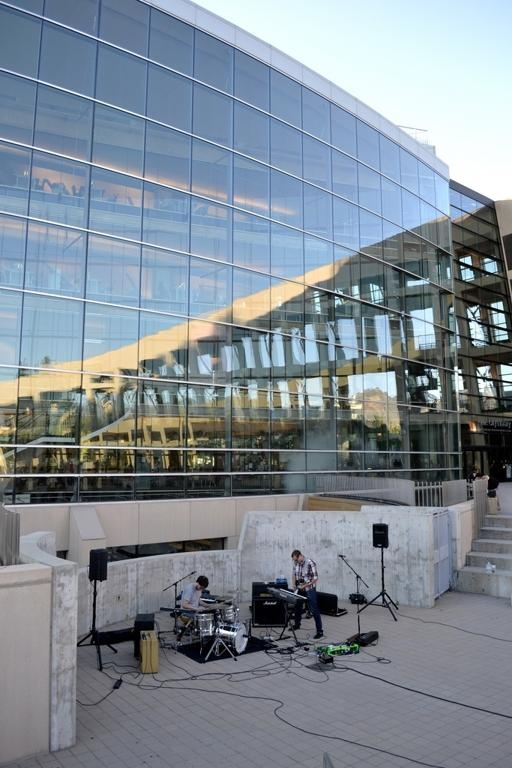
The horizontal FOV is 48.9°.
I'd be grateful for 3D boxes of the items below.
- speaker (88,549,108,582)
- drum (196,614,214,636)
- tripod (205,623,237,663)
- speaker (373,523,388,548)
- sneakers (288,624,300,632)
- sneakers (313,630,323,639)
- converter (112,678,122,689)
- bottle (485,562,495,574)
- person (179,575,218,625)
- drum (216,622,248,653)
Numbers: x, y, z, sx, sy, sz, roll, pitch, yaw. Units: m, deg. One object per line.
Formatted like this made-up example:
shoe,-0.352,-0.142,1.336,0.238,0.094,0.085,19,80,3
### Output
speaker,-2.590,3.007,9.238,0.283,0.597,0.758,-1,-7,-18
drum,-0.879,4.254,9.916,0.363,0.368,0.375,0,-10,-4
tripod,-0.600,4.519,9.850,0.447,0.759,0.546,-1,-2,4
speaker,2.749,3.375,12.461,0.316,0.480,0.224,-7,-8,31
sneakers,0.768,5.030,11.585,0.103,0.122,0.273,-9,-26,28
sneakers,1.213,4.876,10.939,0.166,0.109,0.321,-4,-7,4
converter,-1.981,4.285,8.015,0.077,0.036,0.145,9,13,-3
bottle,6.232,4.890,14.894,0.189,0.104,0.251,0,0,4
person,-1.185,4.153,10.626,0.541,0.972,1.404,-2,-7,-8
drum,-0.356,4.459,9.967,0.468,0.536,0.516,-1,-11,35
